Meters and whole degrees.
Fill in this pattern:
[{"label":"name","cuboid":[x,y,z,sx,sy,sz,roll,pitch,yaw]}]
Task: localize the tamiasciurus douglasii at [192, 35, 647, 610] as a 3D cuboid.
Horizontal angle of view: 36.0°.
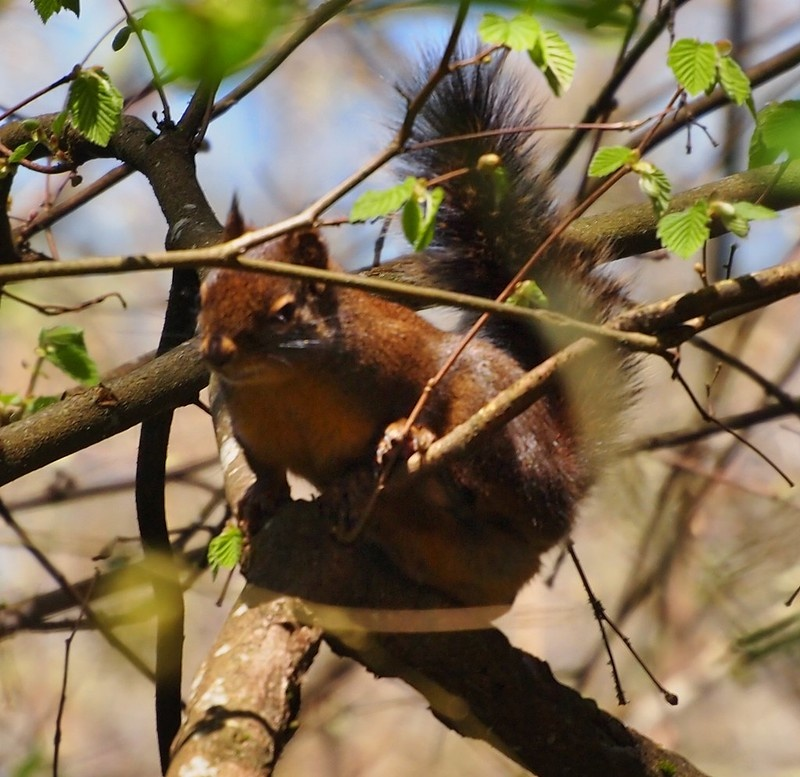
[{"label":"tamiasciurus douglasii","cuboid":[0.080,-0.170,2.910,1.130,1.361,0.573,-14,-22,-13]}]
